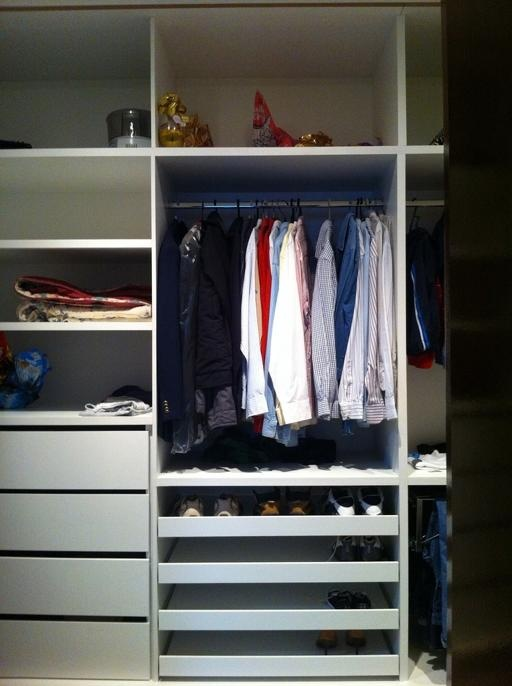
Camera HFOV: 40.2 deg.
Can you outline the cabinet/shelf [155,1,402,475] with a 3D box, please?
[{"bbox_3d":[0.081,-0.280,2.059,0.710,1.283,0.647,0,-4,2],"label":"cabinet/shelf"}]
